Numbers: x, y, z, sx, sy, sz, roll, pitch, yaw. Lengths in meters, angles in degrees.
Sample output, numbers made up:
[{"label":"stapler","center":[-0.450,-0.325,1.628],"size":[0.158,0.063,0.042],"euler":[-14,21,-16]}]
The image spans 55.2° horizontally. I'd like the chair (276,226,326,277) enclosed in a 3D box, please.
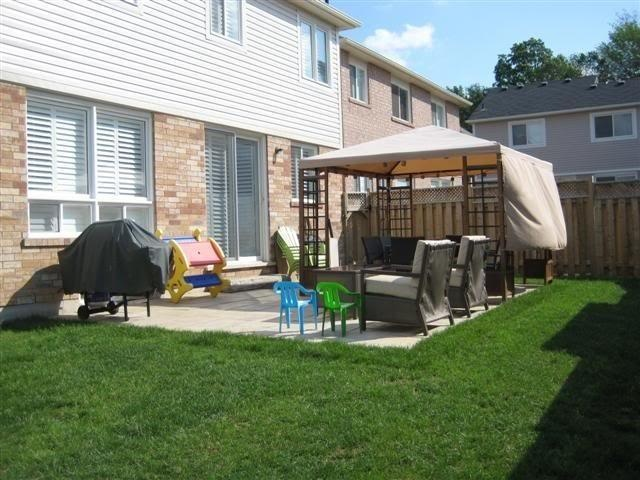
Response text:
[{"label":"chair","center":[-0.508,0.289,15.275],"size":[1.053,1.775,1.145],"euler":[0,-1,-44]}]
